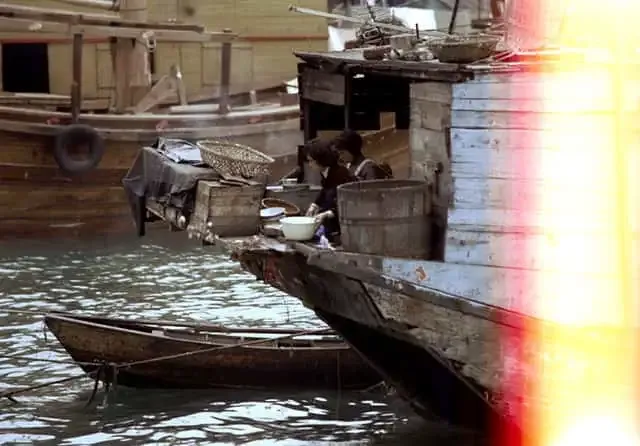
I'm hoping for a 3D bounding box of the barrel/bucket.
[{"bbox_3d":[0.782,-0.030,10.626,1.094,0.675,1.010,-2,-3,0],"label":"barrel/bucket"}]

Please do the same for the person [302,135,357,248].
[{"bbox_3d":[0.203,-0.374,11.361,0.819,1.228,0.738,-1,9,18],"label":"person"}]

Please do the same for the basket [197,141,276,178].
[{"bbox_3d":[-1.198,-0.875,11.632,0.785,0.232,0.805,-1,17,-45],"label":"basket"}]
